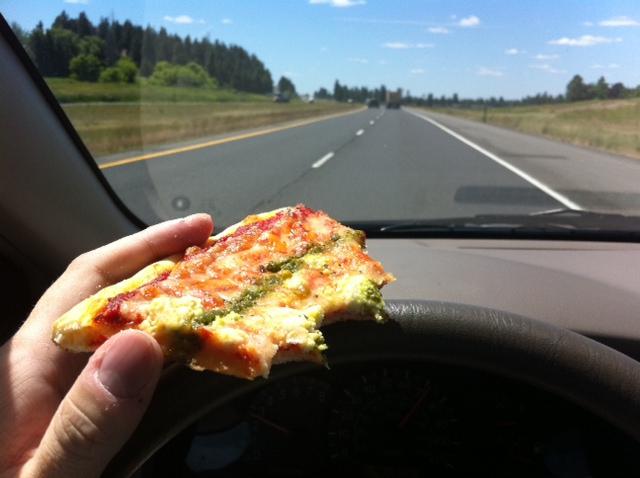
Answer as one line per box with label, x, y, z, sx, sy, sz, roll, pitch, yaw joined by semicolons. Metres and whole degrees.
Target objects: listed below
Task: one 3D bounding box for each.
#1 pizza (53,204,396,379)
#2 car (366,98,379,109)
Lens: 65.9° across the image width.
pizza;-0.318;0.213;2.259;0.928;0.308;1.531;19;30;35
car;6.165;-16.109;57.969;1.292;0.651;2.069;0;25;-4
